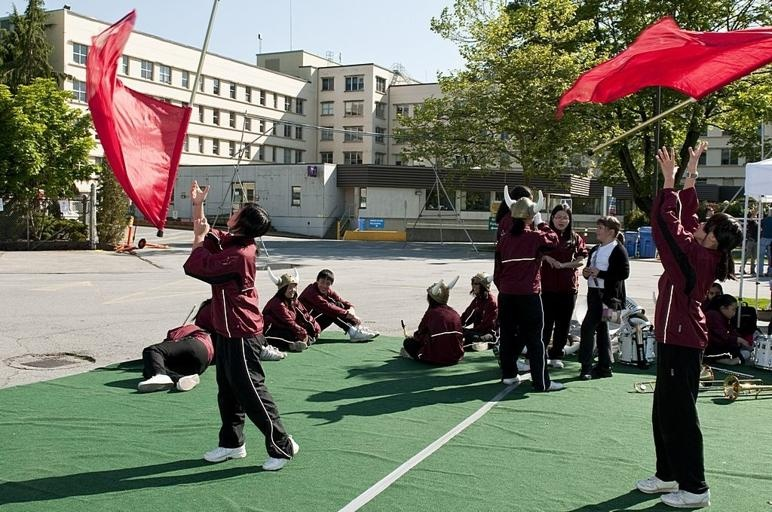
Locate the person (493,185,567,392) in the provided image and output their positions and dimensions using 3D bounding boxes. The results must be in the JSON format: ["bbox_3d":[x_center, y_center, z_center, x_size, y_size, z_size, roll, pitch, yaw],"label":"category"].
[{"bbox_3d":[2.020,0.479,9.265,0.936,2.847,0.607,4,8,21],"label":"person"}]

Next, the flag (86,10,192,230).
[{"bbox_3d":[-2.491,-1.324,6.454,1.079,2.159,0.670,4,8,22],"label":"flag"}]

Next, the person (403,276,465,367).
[{"bbox_3d":[0.789,1.063,10.532,0.933,1.412,0.436,2,7,10],"label":"person"}]

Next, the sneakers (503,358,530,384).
[{"bbox_3d":[2.026,1.742,9.919,0.231,0.289,0.703,5,6,22],"label":"sneakers"}]

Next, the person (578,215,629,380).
[{"bbox_3d":[3.321,0.620,9.809,0.619,2.461,0.750,7,9,39],"label":"person"}]

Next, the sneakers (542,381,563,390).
[{"bbox_3d":[2.414,1.846,9.293,0.238,0.095,0.126,-6,4,-4],"label":"sneakers"}]

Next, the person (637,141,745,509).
[{"bbox_3d":[3.005,0.665,6.446,0.798,3.493,0.850,4,8,25],"label":"person"}]

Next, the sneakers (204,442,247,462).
[{"bbox_3d":[-1.748,2.123,7.068,0.438,0.190,0.170,4,-6,-13],"label":"sneakers"}]

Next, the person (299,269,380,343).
[{"bbox_3d":[-0.957,0.941,12.301,1.792,1.247,0.736,6,10,26],"label":"person"}]

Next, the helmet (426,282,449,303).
[{"bbox_3d":[0.860,0.517,10.461,0.278,0.288,0.380,21,22,-1],"label":"helmet"}]

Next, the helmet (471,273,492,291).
[{"bbox_3d":[1.687,0.419,10.954,0.316,0.265,0.242,30,-5,-19],"label":"helmet"}]

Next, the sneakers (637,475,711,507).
[{"bbox_3d":[2.851,2.291,6.430,0.652,0.274,0.236,3,-4,18],"label":"sneakers"}]

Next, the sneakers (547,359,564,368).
[{"bbox_3d":[2.763,1.728,10.498,0.151,0.097,0.250,4,-7,-21],"label":"sneakers"}]

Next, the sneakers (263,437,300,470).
[{"bbox_3d":[-1.092,2.117,6.993,0.516,0.224,0.171,-11,0,-43],"label":"sneakers"}]

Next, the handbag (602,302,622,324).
[{"bbox_3d":[3.386,0.835,9.711,0.352,0.328,0.166,7,-4,-37],"label":"handbag"}]

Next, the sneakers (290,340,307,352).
[{"bbox_3d":[-1.506,1.537,11.132,0.291,0.142,0.110,3,0,-8],"label":"sneakers"}]

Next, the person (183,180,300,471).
[{"bbox_3d":[-1.554,0.718,6.906,1.196,2.987,0.506,3,8,15],"label":"person"}]

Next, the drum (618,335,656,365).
[{"bbox_3d":[4.108,1.516,10.594,0.489,0.492,0.543,4,10,17],"label":"drum"}]
